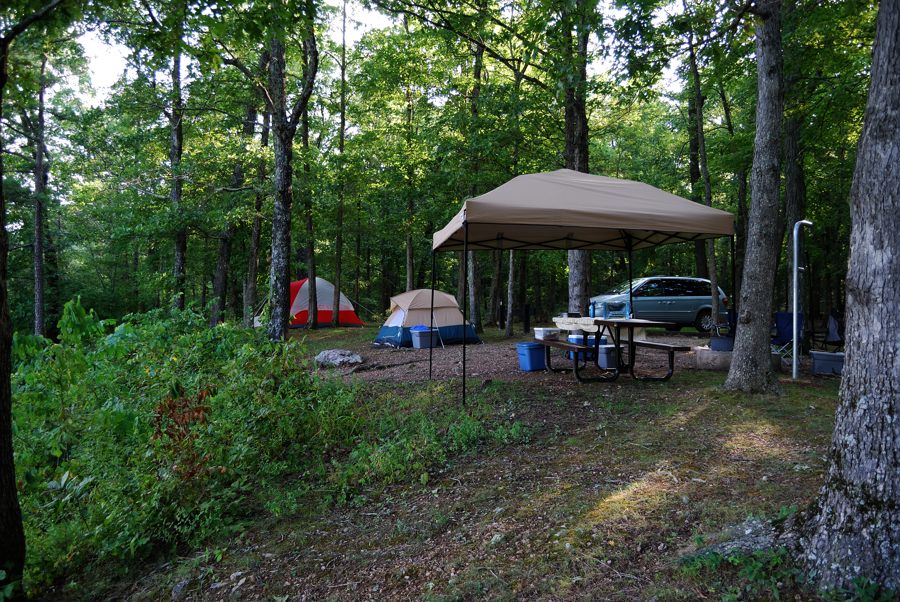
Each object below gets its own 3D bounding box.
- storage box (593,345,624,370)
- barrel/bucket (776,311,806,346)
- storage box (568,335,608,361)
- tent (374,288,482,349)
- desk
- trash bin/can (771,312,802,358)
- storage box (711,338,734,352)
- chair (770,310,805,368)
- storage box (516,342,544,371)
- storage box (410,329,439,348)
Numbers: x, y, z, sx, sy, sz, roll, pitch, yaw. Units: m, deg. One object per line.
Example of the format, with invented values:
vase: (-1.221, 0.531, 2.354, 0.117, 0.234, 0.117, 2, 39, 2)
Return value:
storage box: (3.247, 1.159, 14.199, 0.488, 0.494, 0.391, -2, 0, -3)
barrel/bucket: (7.184, 0.583, 14.659, 0.659, 0.678, 0.482, -3, -9, 25)
storage box: (2.981, 0.996, 14.799, 0.751, 0.486, 0.512, -1, -2, -6)
tent: (-0.780, 0.425, 19.038, 1.883, 1.254, 1.908, 0, -3, -9)
desk: (3.460, 0.795, 14.001, 0.984, 1.152, 1.863, 21, -2, 4)
trash bin/can: (7.333, 0.690, 15.321, 0.497, 0.805, 0.693, -20, -4, 20)
storage box: (5.620, 0.900, 14.329, 0.430, 0.274, 0.315, -2, 2, 21)
chair: (7.447, 0.814, 15.322, 0.582, 0.968, 0.582, -4, -3, 13)
storage box: (1.714, 1.169, 14.656, 0.526, 0.525, 0.632, -2, -2, 21)
storage box: (-0.671, 0.985, 18.427, 0.755, 0.479, 0.555, 0, -2, -14)
